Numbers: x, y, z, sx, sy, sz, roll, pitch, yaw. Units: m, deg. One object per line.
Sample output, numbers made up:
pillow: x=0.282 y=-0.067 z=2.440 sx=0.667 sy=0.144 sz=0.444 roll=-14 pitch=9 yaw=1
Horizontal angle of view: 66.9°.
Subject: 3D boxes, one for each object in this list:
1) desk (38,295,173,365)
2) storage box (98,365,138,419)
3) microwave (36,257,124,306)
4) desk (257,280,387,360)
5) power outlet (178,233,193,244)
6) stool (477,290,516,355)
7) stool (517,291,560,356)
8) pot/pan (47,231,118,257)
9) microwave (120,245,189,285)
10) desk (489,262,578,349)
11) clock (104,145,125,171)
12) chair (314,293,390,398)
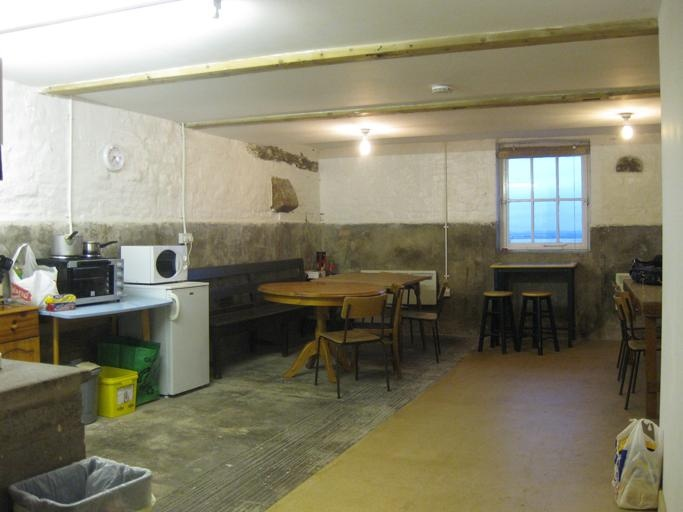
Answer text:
desk: x=-2.103 y=0.475 z=4.507 sx=0.594 sy=0.448 sz=0.939 roll=4 pitch=6 yaw=30
storage box: x=-2.039 y=1.216 z=4.634 sx=0.442 sy=0.325 sz=0.347 roll=0 pitch=0 yaw=36
microwave: x=-2.291 y=0.211 z=4.642 sx=0.422 sy=0.420 sz=0.627 roll=0 pitch=0 yaw=33
desk: x=-0.318 y=0.537 z=5.508 sx=1.065 sy=0.697 sz=1.044 roll=-1 pitch=2 yaw=-27
power outlet: x=-1.803 y=-0.199 z=6.036 sx=0.152 sy=0.117 sz=0.219 roll=4 pitch=0 yaw=5
stool: x=2.138 y=0.855 z=7.149 sx=0.495 sy=0.794 sz=1.136 roll=1 pitch=5 yaw=16
stool: x=2.681 y=0.855 z=7.047 sx=0.519 sy=0.775 sz=1.195 roll=2 pitch=5 yaw=21
pot/pan: x=-2.373 y=-0.102 z=4.775 sx=0.212 sy=0.195 sz=0.548 roll=0 pitch=-2 yaw=31
microwave: x=-1.892 y=0.085 z=5.221 sx=0.517 sy=0.378 sz=0.429 roll=3 pitch=6 yaw=33
desk: x=2.768 y=0.646 z=7.339 sx=1.424 sy=1.301 sz=1.095 roll=0 pitch=0 yaw=23
clock: x=-2.313 y=-0.994 z=5.287 sx=0.043 sy=0.273 sz=0.231 roll=3 pitch=6 yaw=29
chair: x=0.164 y=0.813 z=6.008 sx=0.787 sy=1.017 sz=2.330 roll=0 pitch=5 yaw=5
